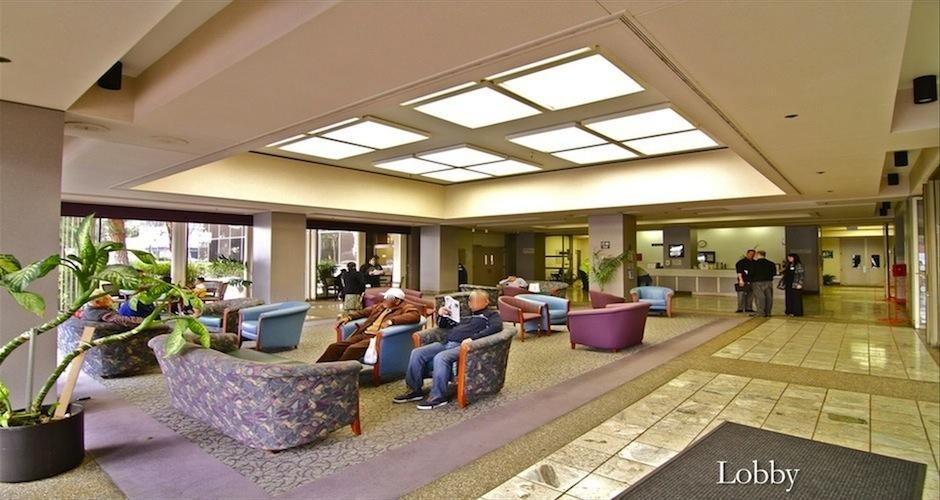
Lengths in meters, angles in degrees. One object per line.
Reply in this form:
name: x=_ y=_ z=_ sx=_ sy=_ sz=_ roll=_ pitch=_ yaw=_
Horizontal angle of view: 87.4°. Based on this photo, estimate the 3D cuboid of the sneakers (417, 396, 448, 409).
sneakers: x=-0.623 y=2.545 z=8.130 sx=0.540 sy=0.175 sz=0.184 roll=6 pitch=-13 yaw=-24

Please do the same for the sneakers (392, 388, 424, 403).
sneakers: x=-1.027 y=2.496 z=8.330 sx=0.601 sy=0.205 sz=0.198 roll=4 pitch=-10 yaw=-15

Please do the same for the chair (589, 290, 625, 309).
chair: x=3.899 y=1.406 z=13.985 sx=0.746 sy=0.664 sz=0.638 roll=-3 pitch=-3 yaw=1

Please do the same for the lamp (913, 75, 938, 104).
lamp: x=7.390 y=-2.653 z=7.996 sx=0.297 sy=0.406 sz=0.234 roll=3 pitch=5 yaw=38

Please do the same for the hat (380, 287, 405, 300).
hat: x=-1.586 y=0.828 z=9.381 sx=0.550 sy=0.227 sz=0.399 roll=7 pitch=0 yaw=32

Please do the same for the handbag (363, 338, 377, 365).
handbag: x=-1.723 y=1.813 z=8.716 sx=0.364 sy=0.409 sz=0.163 roll=-2 pitch=-15 yaw=45

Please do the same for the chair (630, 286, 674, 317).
chair: x=5.532 y=1.494 z=15.045 sx=1.522 sy=0.963 sz=1.207 roll=-3 pitch=-7 yaw=27

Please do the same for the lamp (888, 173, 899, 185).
lamp: x=10.609 y=-1.801 z=12.420 sx=0.356 sy=0.268 sz=0.075 roll=-3 pitch=2 yaw=-18

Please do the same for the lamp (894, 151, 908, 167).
lamp: x=9.023 y=-1.924 z=10.303 sx=0.576 sy=0.283 sz=0.197 roll=-2 pitch=5 yaw=-44

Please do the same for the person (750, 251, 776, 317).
person: x=9.067 y=1.011 z=15.338 sx=0.664 sy=1.972 sz=1.548 roll=3 pitch=4 yaw=29

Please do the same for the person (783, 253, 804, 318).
person: x=9.758 y=1.056 z=14.856 sx=0.540 sy=1.861 sz=0.470 roll=3 pitch=5 yaw=31

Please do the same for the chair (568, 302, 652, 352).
chair: x=3.127 y=1.709 z=11.096 sx=1.308 sy=0.818 sz=1.622 roll=-1 pitch=-3 yaw=38

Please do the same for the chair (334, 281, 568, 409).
chair: x=0.098 y=1.621 z=9.188 sx=2.782 sy=1.628 sz=2.175 roll=0 pitch=-3 yaw=-40

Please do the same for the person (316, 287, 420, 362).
person: x=-1.959 y=1.365 z=9.141 sx=1.128 sy=0.939 sz=2.045 roll=22 pitch=26 yaw=36

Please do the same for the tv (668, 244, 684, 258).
tv: x=9.489 y=0.031 z=22.593 sx=0.727 sy=0.531 sz=0.076 roll=-2 pitch=-7 yaw=42
